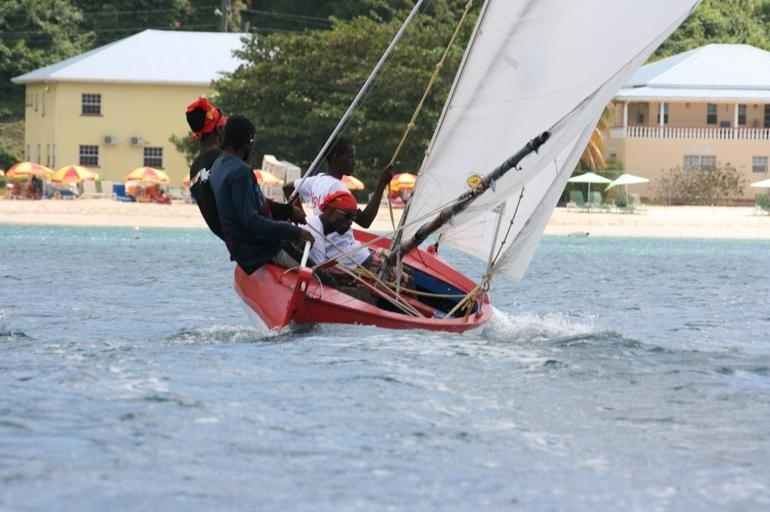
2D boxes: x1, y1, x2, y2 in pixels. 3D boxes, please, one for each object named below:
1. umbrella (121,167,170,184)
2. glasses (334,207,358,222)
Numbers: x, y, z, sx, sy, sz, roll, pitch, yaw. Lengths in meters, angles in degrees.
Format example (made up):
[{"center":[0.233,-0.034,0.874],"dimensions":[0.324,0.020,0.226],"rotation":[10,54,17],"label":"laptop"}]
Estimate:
[{"center":[-9.494,-3.235,47.978],"dimensions":[1.354,0.423,1.242],"rotation":[0,0,-4],"label":"umbrella"},{"center":[-0.622,-0.671,19.507],"dimensions":[0.245,0.073,0.230],"rotation":[6,23,-16],"label":"glasses"}]
